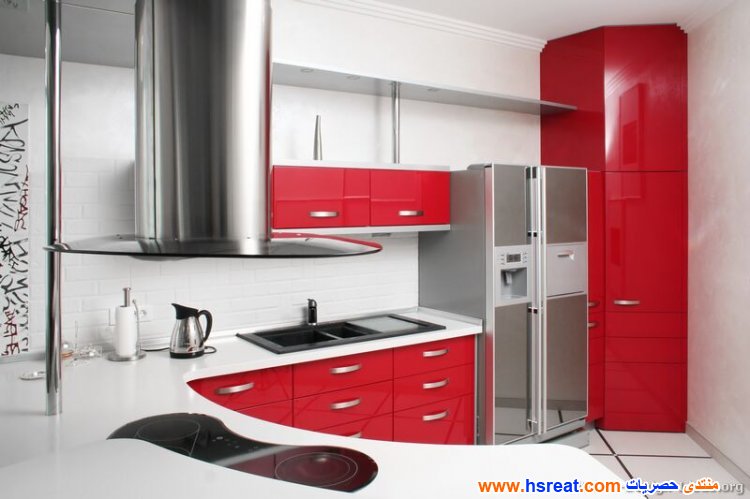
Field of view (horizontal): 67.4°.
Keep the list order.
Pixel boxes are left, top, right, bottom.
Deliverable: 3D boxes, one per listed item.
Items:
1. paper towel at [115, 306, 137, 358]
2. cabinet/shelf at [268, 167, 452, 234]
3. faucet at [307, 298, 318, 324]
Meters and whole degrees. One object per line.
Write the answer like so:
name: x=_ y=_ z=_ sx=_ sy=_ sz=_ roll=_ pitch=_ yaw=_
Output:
paper towel: x=-0.833 y=0.279 z=1.875 sx=0.072 sy=0.199 sz=0.103 roll=-3 pitch=7 yaw=-25
cabinet/shelf: x=-0.009 y=-0.192 z=2.271 sx=0.780 sy=0.233 sz=0.233 roll=1 pitch=-2 yaw=15
faucet: x=-0.266 y=0.262 z=2.377 sx=0.036 sy=0.112 sz=0.052 roll=-2 pitch=7 yaw=-15
